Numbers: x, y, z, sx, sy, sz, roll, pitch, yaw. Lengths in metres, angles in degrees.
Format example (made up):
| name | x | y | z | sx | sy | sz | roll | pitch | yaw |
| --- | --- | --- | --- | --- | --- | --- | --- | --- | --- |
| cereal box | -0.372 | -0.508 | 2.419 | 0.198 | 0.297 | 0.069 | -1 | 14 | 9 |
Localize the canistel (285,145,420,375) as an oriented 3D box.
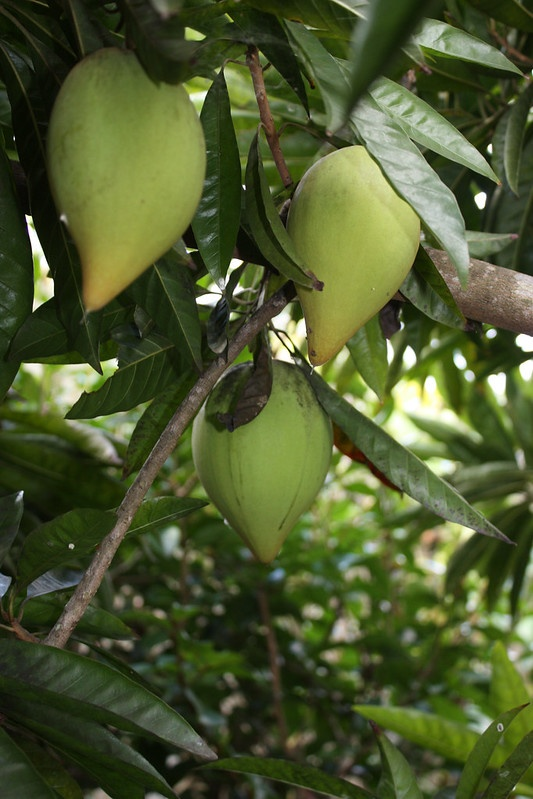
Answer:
| name | x | y | z | sx | sy | sz | roll | pitch | yaw |
| --- | --- | --- | --- | --- | --- | --- | --- | --- | --- |
| canistel | 0.051 | -0.105 | 0.582 | 0.089 | 0.140 | 0.092 | 7 | -7 | 43 |
